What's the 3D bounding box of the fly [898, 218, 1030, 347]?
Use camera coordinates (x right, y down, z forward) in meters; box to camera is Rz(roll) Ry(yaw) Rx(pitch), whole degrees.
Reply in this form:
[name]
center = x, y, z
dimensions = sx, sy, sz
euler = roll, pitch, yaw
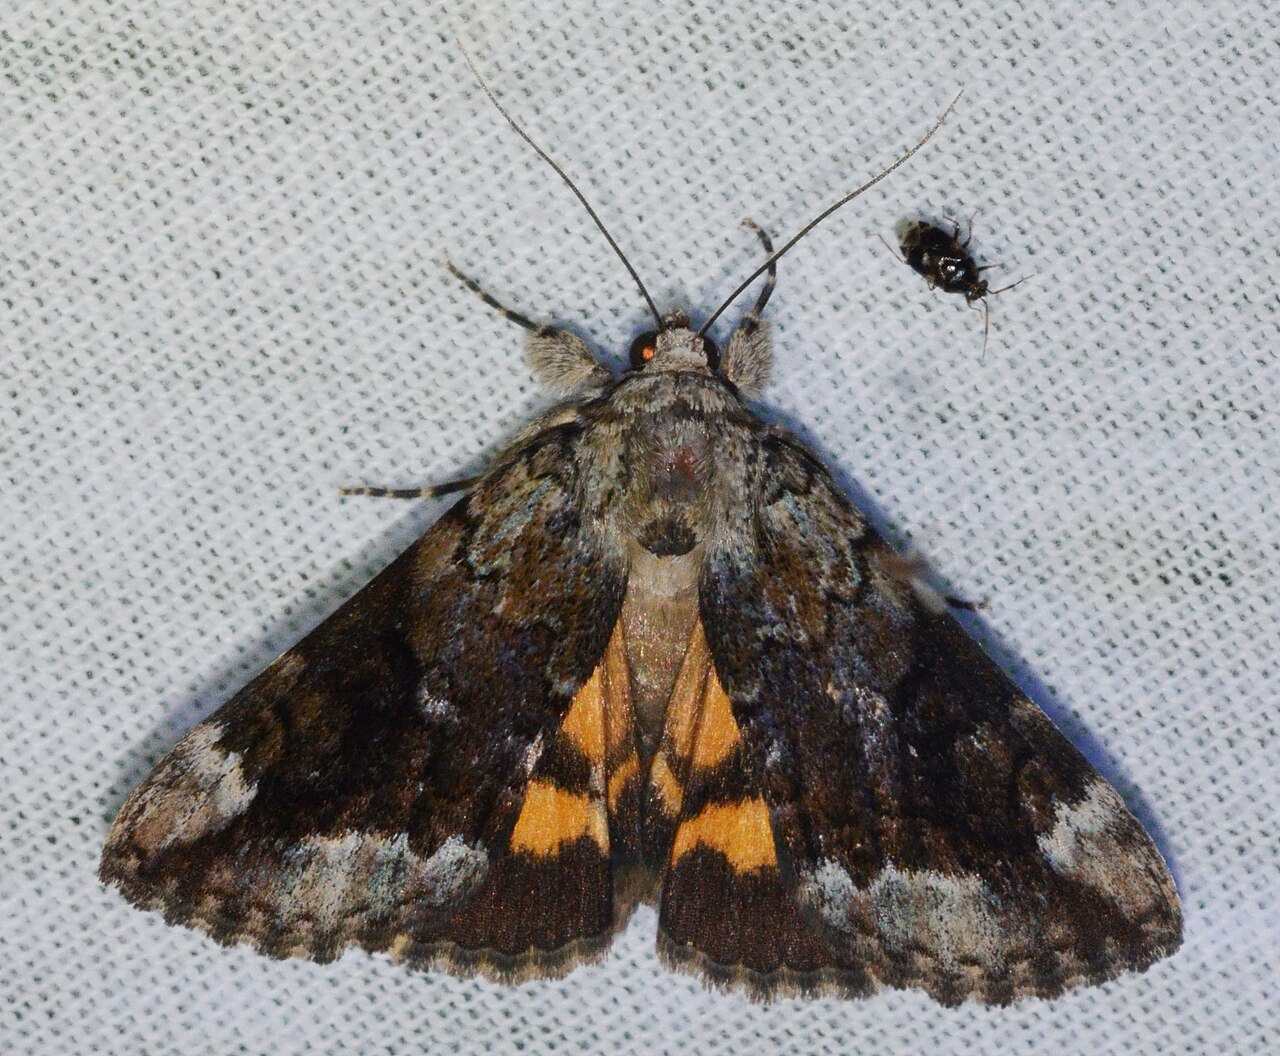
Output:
[fly]
center = 0.471, -0.437, 2.960
dimensions = 0.110, 0.043, 0.161
euler = -38, 95, 1
